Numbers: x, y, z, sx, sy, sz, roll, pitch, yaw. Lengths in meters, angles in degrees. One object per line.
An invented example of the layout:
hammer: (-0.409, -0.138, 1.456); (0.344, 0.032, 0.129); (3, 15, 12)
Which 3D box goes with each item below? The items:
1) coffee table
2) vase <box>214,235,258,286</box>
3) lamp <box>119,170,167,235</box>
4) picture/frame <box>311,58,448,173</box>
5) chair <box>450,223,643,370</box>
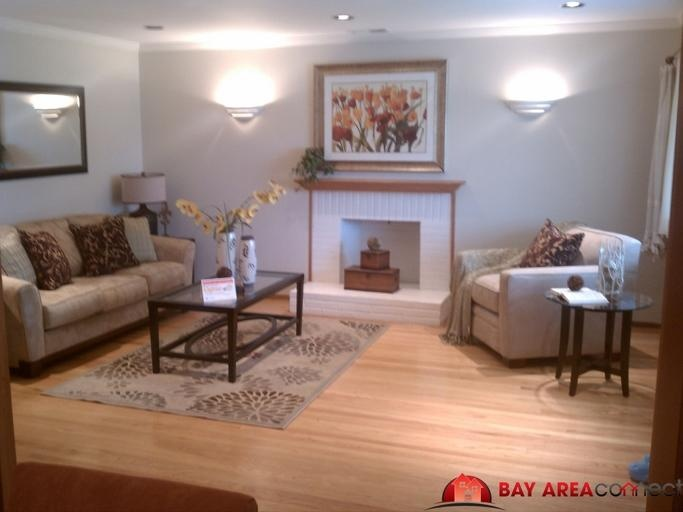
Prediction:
coffee table: (-1.034, 0.514, 4.384); (0.763, 0.634, 1.452); (4, 10, 17)
vase: (-0.905, 0.050, 4.562); (0.423, 0.605, 0.226); (-2, 8, -36)
lamp: (-2.325, -0.584, 6.226); (0.469, 0.806, 0.483); (4, 15, -5)
picture/frame: (0.465, -1.548, 5.761); (1.199, 0.992, 0.049); (2, 7, 16)
chair: (1.830, 0.350, 4.880); (1.290, 1.007, 1.341); (-5, 6, -15)
